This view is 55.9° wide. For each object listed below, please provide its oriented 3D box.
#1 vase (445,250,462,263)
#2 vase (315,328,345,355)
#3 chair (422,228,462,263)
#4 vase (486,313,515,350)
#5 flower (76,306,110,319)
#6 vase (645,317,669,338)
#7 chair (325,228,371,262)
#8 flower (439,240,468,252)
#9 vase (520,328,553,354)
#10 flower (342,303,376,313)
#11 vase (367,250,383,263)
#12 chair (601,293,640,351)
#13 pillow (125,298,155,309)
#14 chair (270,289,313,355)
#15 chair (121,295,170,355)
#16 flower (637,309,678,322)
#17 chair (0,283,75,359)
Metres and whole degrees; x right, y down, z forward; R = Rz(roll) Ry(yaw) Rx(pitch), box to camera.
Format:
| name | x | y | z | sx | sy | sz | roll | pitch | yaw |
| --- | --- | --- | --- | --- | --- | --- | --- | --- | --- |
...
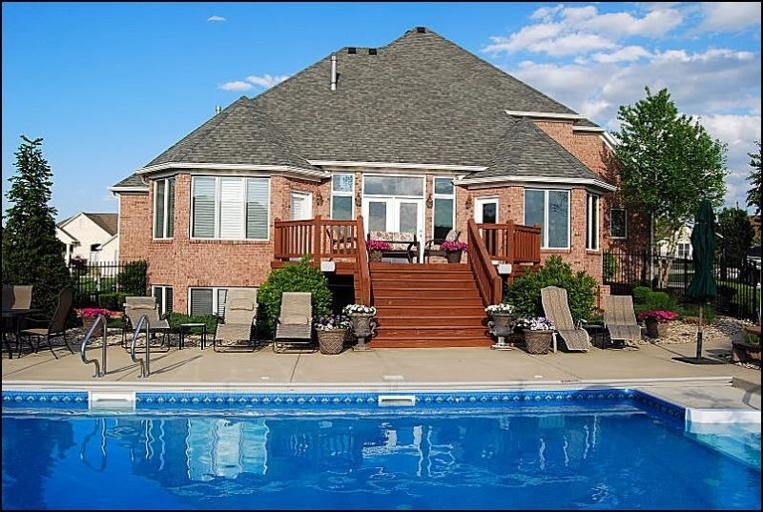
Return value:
| name | x | y | z | sx | sy | sz | roll | pitch | yaw |
| --- | --- | --- | --- | --- | --- | --- | --- | --- | --- |
| vase | 2.954 | 0.040 | 29.839 | 0.561 | 0.414 | 0.568 | 0 | 0 | 29 |
| vase | -1.663 | 2.837 | 23.955 | 0.877 | 0.644 | 0.866 | 0 | -6 | -2 |
| chair | 2.545 | -0.346 | 30.527 | 1.601 | 1.884 | 1.288 | 0 | -1 | -2 |
| vase | 4.333 | 2.586 | 25.089 | 1.123 | 1.309 | 1.091 | 0 | -4 | 1 |
| flower | -10.821 | 2.121 | 26.828 | 0.711 | 0.216 | 0.728 | 1 | -2 | 39 |
| vase | 10.098 | 2.605 | 26.434 | 0.729 | 0.715 | 0.847 | -1 | 2 | -2 |
| chair | -1.623 | -0.545 | 28.861 | 1.239 | 1.124 | 1.754 | 0 | -2 | -1 |
| flower | 2.962 | -0.394 | 29.770 | 1.036 | 0.482 | 0.466 | -1 | -1 | 2 |
| vase | 5.246 | 2.865 | 24.120 | 0.988 | 0.833 | 0.713 | -1 | -1 | -5 |
| flower | -0.828 | 1.822 | 24.366 | 0.879 | 0.288 | 1.098 | -1 | -2 | -32 |
| vase | -0.234 | 0.020 | 29.197 | 0.485 | 0.488 | 0.465 | 1 | -1 | -5 |
| chair | 8.286 | 2.286 | 24.878 | 1.146 | 1.754 | 1.843 | -2 | -1 | 18 |
| pillow | -8.203 | 1.607 | 24.387 | 1.005 | 0.392 | 0.204 | -1 | -1 | -20 |
| chair | -2.974 | 2.208 | 24.168 | 1.312 | 1.970 | 1.627 | -1 | -1 | -6 |
| chair | -8.155 | 2.244 | 24.756 | 1.551 | 2.088 | 2.275 | 1 | -1 | -26 |
| flower | 10.186 | 2.143 | 26.124 | 0.838 | 0.259 | 0.788 | -1 | 2 | -25 |
| chair | -11.398 | 2.272 | 23.848 | 2.607 | 2.368 | 2.597 | 5 | -1 | 6 |
